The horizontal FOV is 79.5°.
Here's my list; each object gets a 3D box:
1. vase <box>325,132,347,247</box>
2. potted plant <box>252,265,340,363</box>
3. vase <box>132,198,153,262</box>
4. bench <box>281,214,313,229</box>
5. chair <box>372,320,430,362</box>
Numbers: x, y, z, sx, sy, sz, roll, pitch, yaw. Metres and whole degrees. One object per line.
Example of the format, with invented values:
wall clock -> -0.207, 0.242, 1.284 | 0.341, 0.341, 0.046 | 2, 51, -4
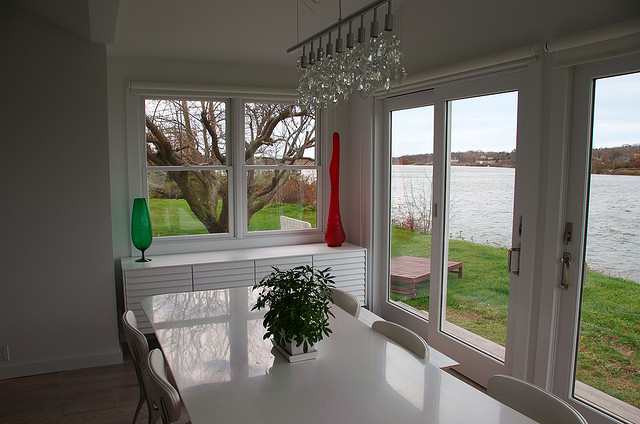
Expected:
vase -> 0.221, -0.302, 5.181 | 0.235, 1.480, 0.466 | 1, 12, 3
potted plant -> -0.144, 0.717, 2.658 | 0.497, 0.641, 0.522 | -1, 1, -40
vase -> -2.043, 0.205, 4.424 | 0.195, 0.712, 0.221 | -1, 12, -11
bench -> -0.322, 0.139, 5.360 | 0.441, 0.204, 0.038 | -2, 12, -15
chair -> 0.597, 0.884, 2.766 | 0.155, 0.126, 0.537 | -8, 15, -37
